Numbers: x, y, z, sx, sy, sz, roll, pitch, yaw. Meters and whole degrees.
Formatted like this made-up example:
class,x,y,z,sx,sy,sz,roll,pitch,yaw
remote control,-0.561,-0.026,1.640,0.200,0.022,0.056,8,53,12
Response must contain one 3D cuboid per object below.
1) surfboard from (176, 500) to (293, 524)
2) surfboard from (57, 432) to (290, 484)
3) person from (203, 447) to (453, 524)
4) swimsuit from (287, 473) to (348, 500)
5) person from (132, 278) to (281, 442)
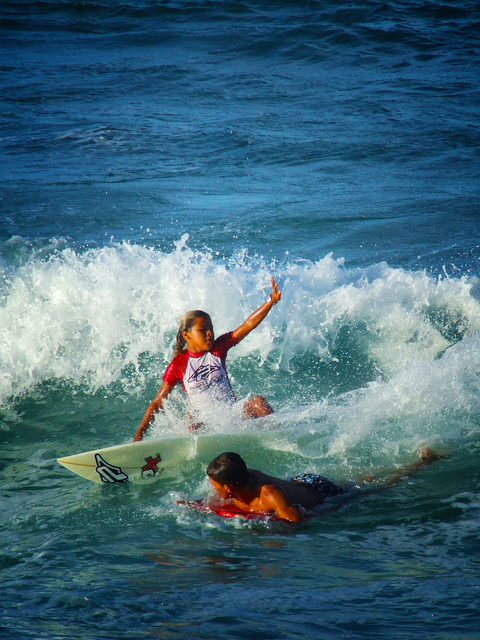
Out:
class,x,y,z,sx,sy,sz,roll,pitch,yaw
surfboard,-0.008,1.414,5.872,0.624,0.140,0.055,8,63,25
surfboard,-0.487,1.179,6.775,1.875,0.312,0.159,-7,16,-27
person,0.554,1.212,6.041,1.348,0.438,0.675,-15,-2,-15
swimsuit,0.604,1.274,6.149,0.313,0.122,0.187,2,-7,-22
person,-0.307,0.371,7.244,1.296,1.336,0.703,-2,22,-1
